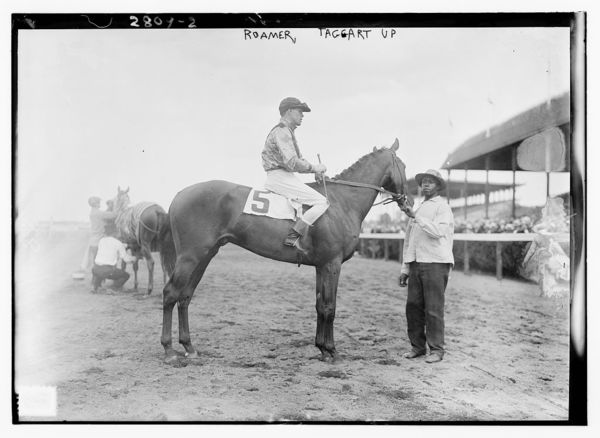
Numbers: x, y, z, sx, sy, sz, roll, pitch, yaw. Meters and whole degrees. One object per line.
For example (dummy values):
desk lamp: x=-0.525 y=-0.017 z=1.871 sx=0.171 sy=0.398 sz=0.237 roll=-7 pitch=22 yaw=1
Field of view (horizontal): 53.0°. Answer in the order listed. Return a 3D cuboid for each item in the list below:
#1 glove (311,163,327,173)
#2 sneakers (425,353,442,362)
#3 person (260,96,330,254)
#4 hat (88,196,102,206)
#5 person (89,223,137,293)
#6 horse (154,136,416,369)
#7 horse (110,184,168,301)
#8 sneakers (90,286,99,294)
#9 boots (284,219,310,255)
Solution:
glove: x=0.211 y=-0.591 z=6.994 sx=0.188 sy=0.092 sz=0.131 roll=1 pitch=1 yaw=-13
sneakers: x=1.558 y=1.609 z=7.050 sx=0.179 sy=0.084 sz=0.100 roll=-2 pitch=5 yaw=-20
person: x=-0.055 y=-0.527 z=7.042 sx=0.806 sy=1.394 sz=0.536 roll=1 pitch=1 yaw=2
hat: x=-2.828 y=-0.241 z=8.290 sx=0.170 sy=0.147 sz=0.033 roll=1 pitch=1 yaw=-35
person: x=-2.660 y=0.636 z=8.622 sx=0.406 sy=0.985 sz=0.561 roll=10 pitch=5 yaw=29
horse: x=-0.237 y=0.559 z=7.555 sx=2.456 sy=2.284 sz=0.702 roll=1 pitch=-17 yaw=-3
horse: x=-2.394 y=0.307 z=8.939 sx=0.534 sy=1.571 sz=1.932 roll=4 pitch=-5 yaw=-38
sneakers: x=-2.825 y=0.976 z=8.312 sx=0.044 sy=0.106 sz=0.146 roll=2 pitch=1 yaw=29
boots: x=-0.043 y=0.208 z=6.889 sx=0.286 sy=0.309 sz=0.198 roll=1 pitch=1 yaw=-6
